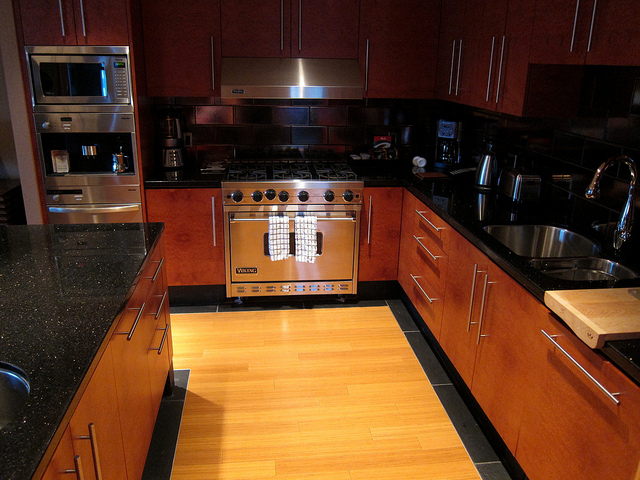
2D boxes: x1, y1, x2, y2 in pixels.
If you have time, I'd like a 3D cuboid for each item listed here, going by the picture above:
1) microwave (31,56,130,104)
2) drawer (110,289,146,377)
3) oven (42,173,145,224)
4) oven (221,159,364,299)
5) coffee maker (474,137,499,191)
[{"bbox_3d":[-1.733,-1.158,3.538,0.692,0.417,0.387,-3,4,-11],"label":"microwave"},{"bbox_3d":[-0.813,0.380,1.998,0.214,0.086,0.341,-1,29,1],"label":"drawer"},{"bbox_3d":[-1.737,-0.326,3.562,0.354,0.364,0.237,-2,21,-7],"label":"oven"},{"bbox_3d":[-0.273,-0.100,4.249,1.158,1.110,1.070,-1,20,-8],"label":"oven"},{"bbox_3d":[1.244,-0.549,3.516,0.167,0.331,0.230,5,19,20],"label":"coffee maker"}]
